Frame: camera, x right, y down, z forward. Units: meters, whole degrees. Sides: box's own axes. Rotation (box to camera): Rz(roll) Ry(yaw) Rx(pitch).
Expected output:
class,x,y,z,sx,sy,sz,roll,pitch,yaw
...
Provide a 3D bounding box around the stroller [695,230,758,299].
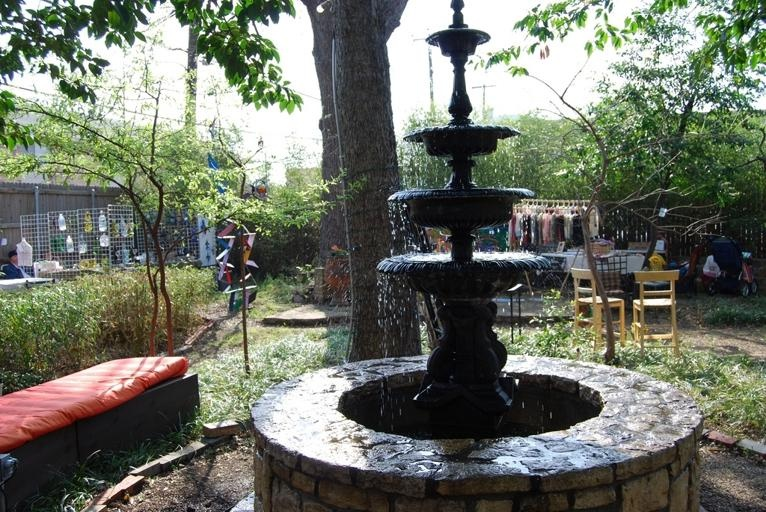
class,x,y,z,sx,sy,sz,roll,pitch,yaw
stroller,7.800,0.243,15.028,1.024,1.353,0.862,-2,2,23
